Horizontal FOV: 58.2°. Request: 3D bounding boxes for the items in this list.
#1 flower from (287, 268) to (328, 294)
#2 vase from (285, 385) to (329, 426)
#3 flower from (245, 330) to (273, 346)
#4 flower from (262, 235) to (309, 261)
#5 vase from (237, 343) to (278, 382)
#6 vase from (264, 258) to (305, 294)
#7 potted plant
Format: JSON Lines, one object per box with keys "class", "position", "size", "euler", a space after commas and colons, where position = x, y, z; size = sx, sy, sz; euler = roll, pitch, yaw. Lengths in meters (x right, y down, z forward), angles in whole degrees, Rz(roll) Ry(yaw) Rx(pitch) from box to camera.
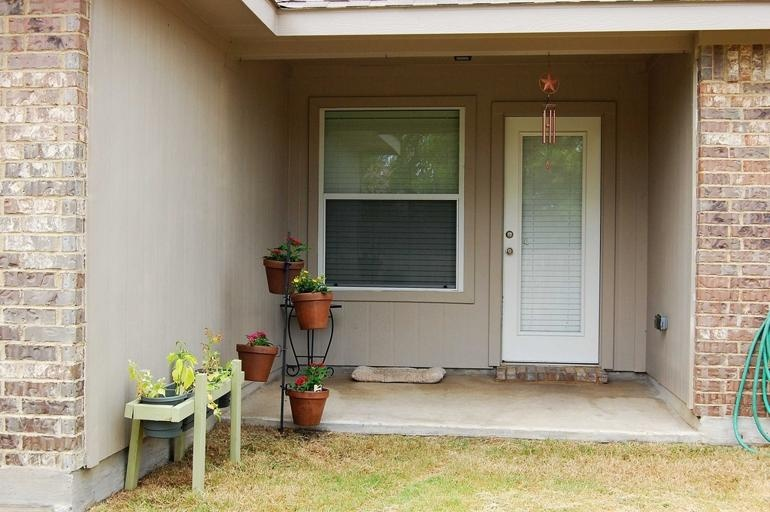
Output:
{"class": "flower", "position": [-0.632, 0.234, 5.781], "size": [0.231, 0.161, 0.257], "euler": [5, 1, -13]}
{"class": "vase", "position": [-0.611, 1.171, 5.450], "size": [0.342, 0.256, 0.343], "euler": [5, -5, -6]}
{"class": "flower", "position": [-0.994, 0.653, 5.513], "size": [0.201, 0.115, 0.200], "euler": [1, -2, 3]}
{"class": "flower", "position": [-0.853, -0.043, 5.879], "size": [0.300, 0.138, 0.319], "euler": [4, -8, -42]}
{"class": "vase", "position": [-0.983, 0.819, 5.353], "size": [0.299, 0.223, 0.294], "euler": [1, -9, 1]}
{"class": "vase", "position": [-0.837, 0.142, 5.701], "size": [0.309, 0.237, 0.302], "euler": [4, 1, -17]}
{"class": "potted plant", "position": [-1.381, 0.915, 4.943], "size": [0.398, 0.547, 1.006], "euler": [1, -2, 12]}
